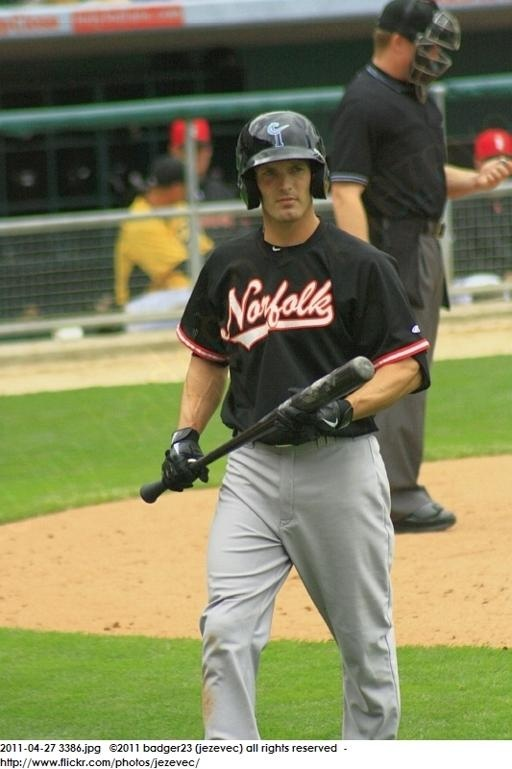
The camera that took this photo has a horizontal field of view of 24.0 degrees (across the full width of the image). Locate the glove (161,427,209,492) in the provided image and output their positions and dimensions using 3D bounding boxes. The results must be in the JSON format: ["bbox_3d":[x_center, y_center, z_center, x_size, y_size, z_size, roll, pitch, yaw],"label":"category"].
[{"bbox_3d":[-0.155,0.173,2.712,0.071,0.130,0.117,13,-18,14],"label":"glove"}]

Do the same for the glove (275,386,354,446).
[{"bbox_3d":[0.104,0.064,2.398,0.113,0.043,0.137,-4,-10,-26],"label":"glove"}]

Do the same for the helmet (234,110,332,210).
[{"bbox_3d":[0.070,-0.501,2.627,0.189,0.160,0.225,-4,10,4],"label":"helmet"}]
